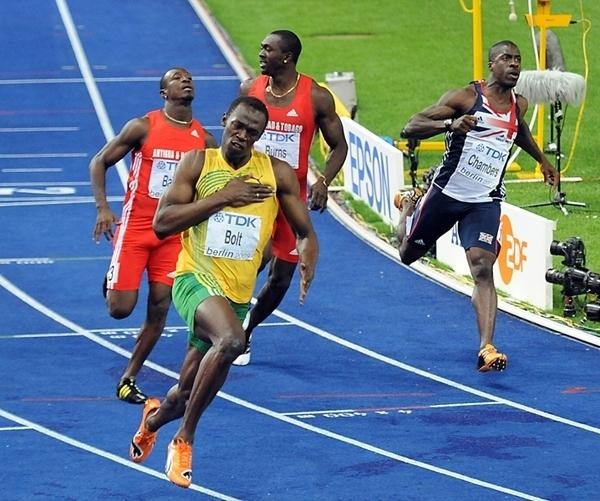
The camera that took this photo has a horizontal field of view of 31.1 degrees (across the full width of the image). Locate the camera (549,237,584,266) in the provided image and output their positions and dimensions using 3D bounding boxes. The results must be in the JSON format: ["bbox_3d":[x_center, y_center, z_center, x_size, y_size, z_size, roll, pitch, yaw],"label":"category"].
[{"bbox_3d":[2.220,0.004,8.972,0.276,0.214,0.283,8,10,43],"label":"camera"}]

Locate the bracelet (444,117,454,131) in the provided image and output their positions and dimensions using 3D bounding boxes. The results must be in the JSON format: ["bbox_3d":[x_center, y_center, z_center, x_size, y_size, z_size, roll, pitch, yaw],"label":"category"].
[{"bbox_3d":[1.070,-0.900,7.736,0.048,0.079,0.068,17,-4,-16],"label":"bracelet"}]

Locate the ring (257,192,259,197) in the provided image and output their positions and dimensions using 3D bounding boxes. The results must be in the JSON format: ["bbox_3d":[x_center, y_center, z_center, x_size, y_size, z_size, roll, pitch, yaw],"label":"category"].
[{"bbox_3d":[-0.233,-0.304,5.950,0.017,0.019,0.011,-3,18,-11],"label":"ring"}]

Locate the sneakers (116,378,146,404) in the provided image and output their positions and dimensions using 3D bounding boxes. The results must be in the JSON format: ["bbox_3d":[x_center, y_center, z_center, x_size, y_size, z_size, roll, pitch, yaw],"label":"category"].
[{"bbox_3d":[-1.135,0.941,7.227,0.109,0.105,0.311,1,2,-42],"label":"sneakers"}]

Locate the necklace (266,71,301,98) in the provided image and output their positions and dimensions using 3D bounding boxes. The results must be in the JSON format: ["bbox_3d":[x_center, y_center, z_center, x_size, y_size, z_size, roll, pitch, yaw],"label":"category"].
[{"bbox_3d":[-0.144,-1.211,7.955,0.209,0.181,0.058,6,12,10],"label":"necklace"}]

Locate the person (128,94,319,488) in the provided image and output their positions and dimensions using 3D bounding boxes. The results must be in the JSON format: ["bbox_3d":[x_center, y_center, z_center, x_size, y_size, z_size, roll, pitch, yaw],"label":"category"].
[{"bbox_3d":[-0.465,0.250,6.110,0.793,2.177,1.198,12,21,31],"label":"person"}]

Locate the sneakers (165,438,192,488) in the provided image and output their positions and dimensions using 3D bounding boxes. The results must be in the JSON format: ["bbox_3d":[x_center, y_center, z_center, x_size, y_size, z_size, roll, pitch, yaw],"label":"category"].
[{"bbox_3d":[-0.658,1.158,5.871,0.135,0.255,0.189,-2,17,-8],"label":"sneakers"}]

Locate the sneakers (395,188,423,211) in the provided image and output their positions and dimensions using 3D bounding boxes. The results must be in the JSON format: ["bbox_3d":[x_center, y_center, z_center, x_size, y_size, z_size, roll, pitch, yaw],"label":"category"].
[{"bbox_3d":[0.963,-0.444,9.277,0.160,0.099,0.328,-6,4,-20],"label":"sneakers"}]

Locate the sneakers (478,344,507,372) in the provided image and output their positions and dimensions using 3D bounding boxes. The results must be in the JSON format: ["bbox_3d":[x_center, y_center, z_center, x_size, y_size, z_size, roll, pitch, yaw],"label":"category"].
[{"bbox_3d":[1.343,0.772,7.527,0.181,0.215,0.191,3,17,7],"label":"sneakers"}]
